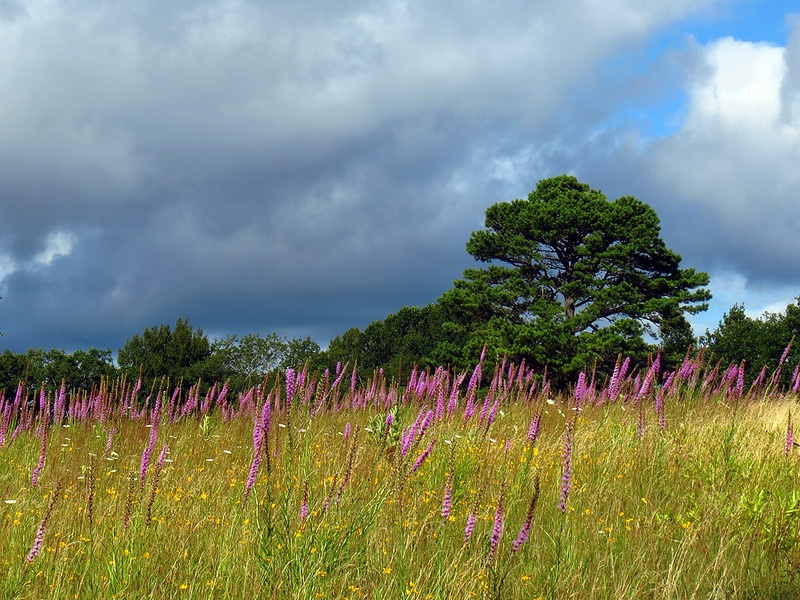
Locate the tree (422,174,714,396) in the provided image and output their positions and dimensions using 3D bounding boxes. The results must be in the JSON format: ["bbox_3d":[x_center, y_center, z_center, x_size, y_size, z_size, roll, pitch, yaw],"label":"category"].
[{"bbox_3d":[5.145,0.029,22.144,4.559,6.938,4.768,5,-26,-1],"label":"tree"}]
